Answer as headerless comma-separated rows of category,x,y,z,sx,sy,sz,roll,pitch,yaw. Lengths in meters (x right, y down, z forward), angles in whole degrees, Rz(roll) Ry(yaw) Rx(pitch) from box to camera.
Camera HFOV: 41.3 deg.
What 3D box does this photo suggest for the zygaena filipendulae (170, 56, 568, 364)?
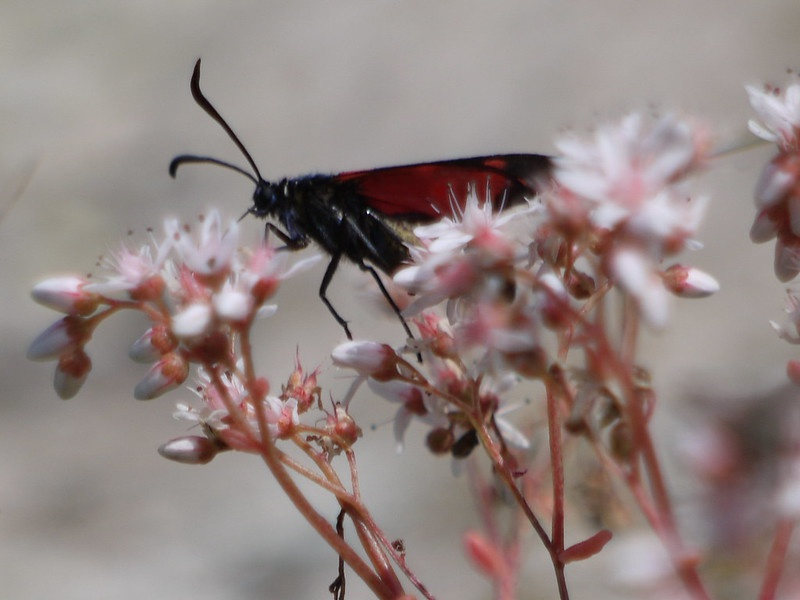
zygaena filipendulae,-0.072,-0.081,1.233,0.389,0.228,0.337,15,-25,-34
